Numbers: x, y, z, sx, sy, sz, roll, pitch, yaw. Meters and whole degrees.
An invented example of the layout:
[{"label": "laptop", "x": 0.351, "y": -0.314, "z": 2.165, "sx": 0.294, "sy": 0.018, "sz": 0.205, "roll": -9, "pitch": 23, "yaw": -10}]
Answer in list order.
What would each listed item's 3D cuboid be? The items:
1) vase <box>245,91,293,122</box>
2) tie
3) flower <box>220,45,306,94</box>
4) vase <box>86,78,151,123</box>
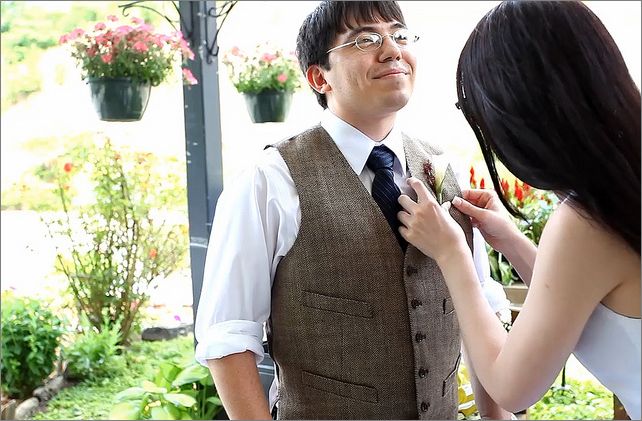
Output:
[{"label": "vase", "x": -0.354, "y": -0.694, "z": 3.641, "sx": 0.220, "sy": 0.145, "sz": 0.231, "roll": 2, "pitch": 4, "yaw": 22}, {"label": "tie", "x": 0.235, "y": -0.088, "z": 2.006, "sx": 0.105, "sy": 0.464, "sz": 0.112, "roll": -13, "pitch": 1, "yaw": -32}, {"label": "flower", "x": -0.398, "y": -1.003, "z": 3.762, "sx": 0.424, "sy": 0.272, "sz": 0.410, "roll": -28, "pitch": 35, "yaw": -23}, {"label": "vase", "x": -1.225, "y": -0.691, "z": 3.437, "sx": 0.355, "sy": 0.256, "sz": 0.359, "roll": -3, "pitch": 6, "yaw": -21}]
